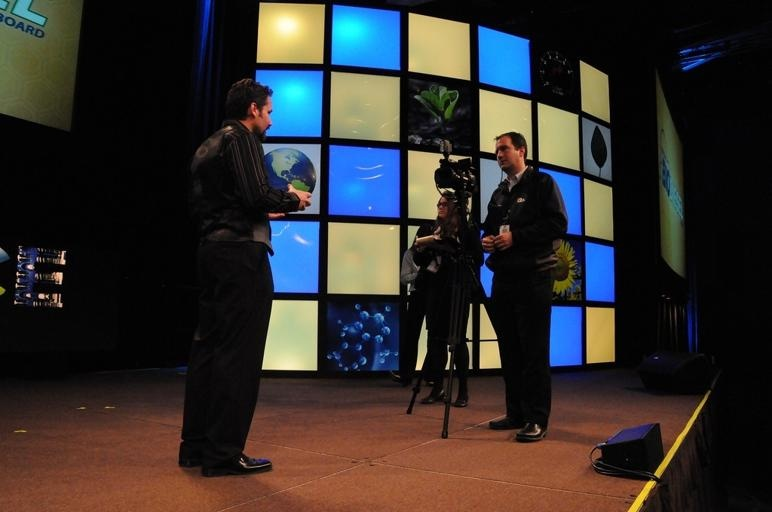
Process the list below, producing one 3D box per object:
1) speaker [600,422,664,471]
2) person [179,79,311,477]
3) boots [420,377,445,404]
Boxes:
[{"bbox_3d":[1.867,1.323,4.478,0.276,0.338,0.523,-8,-13,36],"label":"speaker"},{"bbox_3d":[-1.141,0.116,4.410,0.832,2.929,0.540,0,5,-11],"label":"person"},{"bbox_3d":[0.525,1.455,6.300,0.320,0.311,0.166,4,-10,-21],"label":"boots"}]
